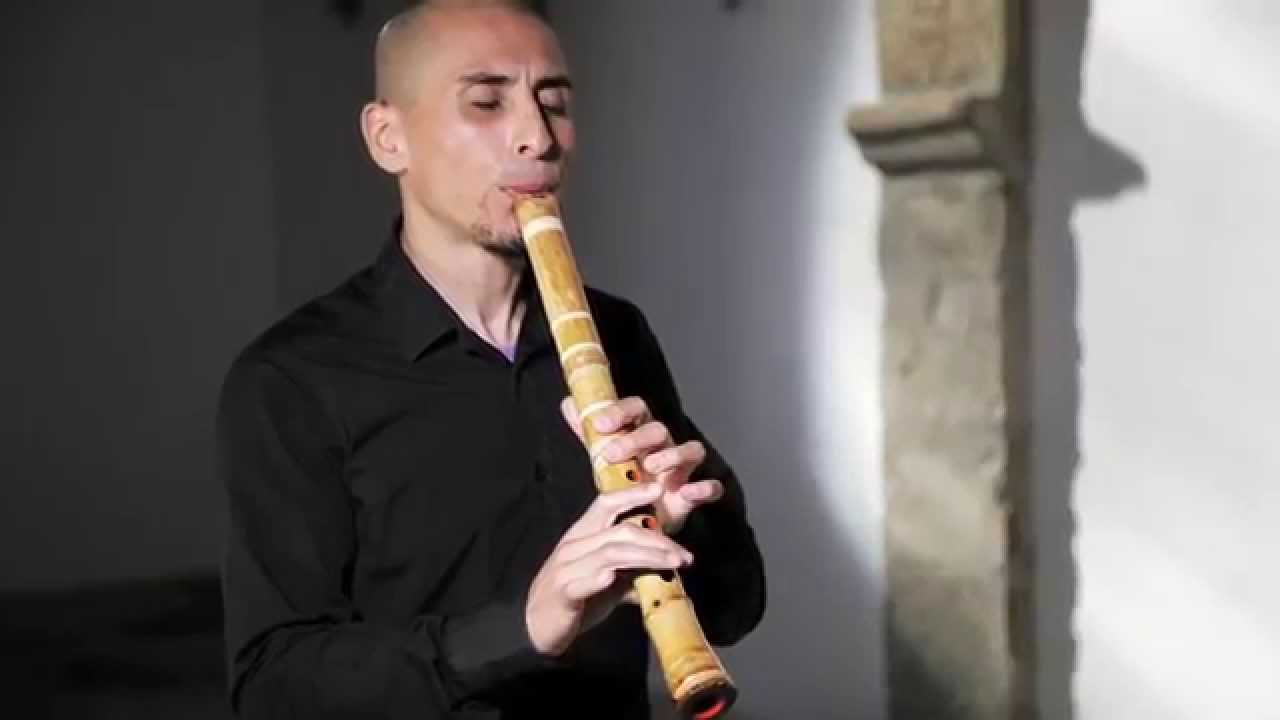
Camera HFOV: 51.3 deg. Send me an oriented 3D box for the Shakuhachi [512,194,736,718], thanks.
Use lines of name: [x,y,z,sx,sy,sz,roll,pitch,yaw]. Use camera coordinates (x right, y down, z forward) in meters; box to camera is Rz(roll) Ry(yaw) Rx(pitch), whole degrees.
Shakuhachi: [-0.044,0.131,2.095,0.197,1.097,0.167,-35,-33,31]
